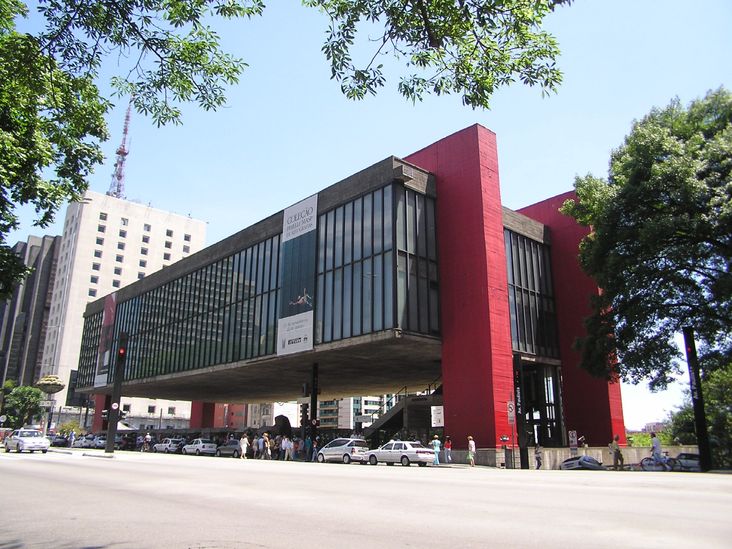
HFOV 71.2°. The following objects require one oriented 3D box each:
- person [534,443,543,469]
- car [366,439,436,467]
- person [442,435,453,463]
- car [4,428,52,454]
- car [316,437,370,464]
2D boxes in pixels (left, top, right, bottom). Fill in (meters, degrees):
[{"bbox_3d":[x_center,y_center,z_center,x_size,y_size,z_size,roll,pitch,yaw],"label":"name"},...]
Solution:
[{"bbox_3d":[10.785,11.475,32.124,0.523,1.247,0.726,-6,-22,16],"label":"person"},{"bbox_3d":[2.130,10.773,31.287,3.780,1.171,1.716,-15,-26,41],"label":"car"},{"bbox_3d":[5.146,11.041,32.400,0.575,1.580,1.497,-3,-21,8],"label":"person"},{"bbox_3d":[-24.952,12.160,37.571,3.289,1.645,1.497,-13,-24,30],"label":"car"},{"bbox_3d":[-1.409,11.813,34.384,0.985,1.522,4.301,19,-28,-41],"label":"car"}]
